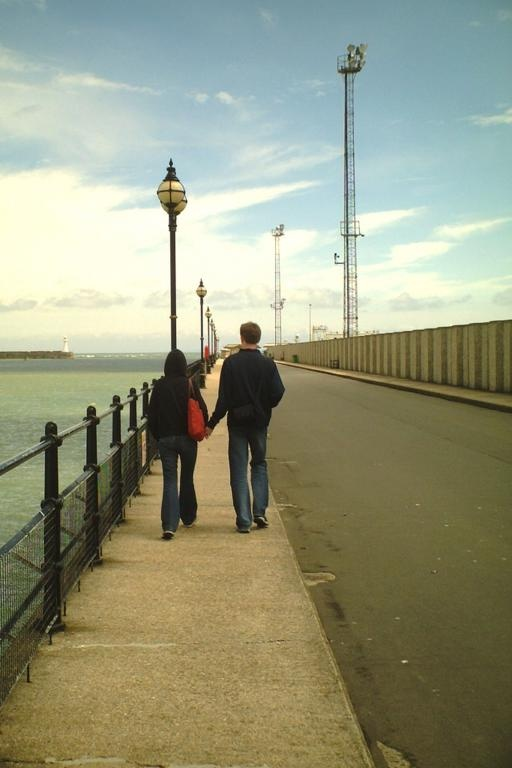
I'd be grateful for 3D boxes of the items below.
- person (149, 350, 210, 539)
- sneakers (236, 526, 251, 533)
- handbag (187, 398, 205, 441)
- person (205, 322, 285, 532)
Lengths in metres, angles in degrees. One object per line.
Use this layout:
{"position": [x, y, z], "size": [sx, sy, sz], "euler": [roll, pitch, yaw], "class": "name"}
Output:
{"position": [-0.671, 0.516, 7.181], "size": [0.515, 1.609, 0.914], "euler": [-3, 5, -6], "class": "person"}
{"position": [-0.112, 1.241, 6.997], "size": [0.112, 0.057, 0.109], "euler": [-3, 5, -4], "class": "sneakers"}
{"position": [-0.516, 0.304, 6.928], "size": [0.083, 0.275, 0.206], "euler": [-11, -38, 7], "class": "handbag"}
{"position": [-0.083, 0.380, 7.065], "size": [0.657, 1.798, 0.428], "euler": [-3, 5, -9], "class": "person"}
